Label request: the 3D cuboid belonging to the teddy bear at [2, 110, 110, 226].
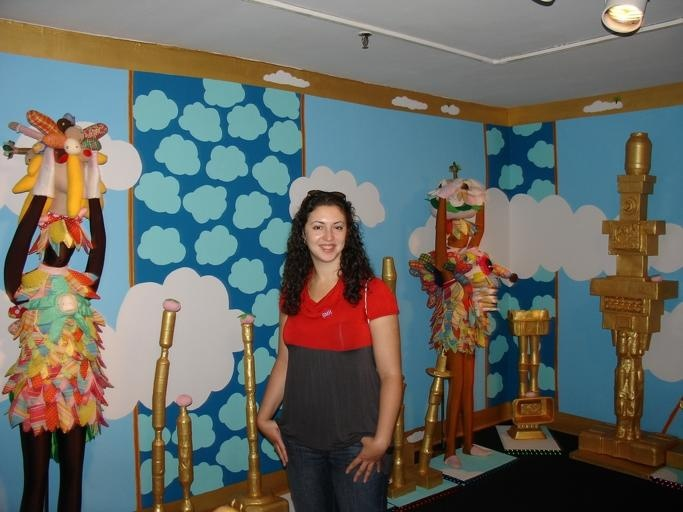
[{"bbox_3d":[-1.499,-0.447,2.842,0.263,0.516,0.476,22,23,40],"label":"teddy bear"}]
